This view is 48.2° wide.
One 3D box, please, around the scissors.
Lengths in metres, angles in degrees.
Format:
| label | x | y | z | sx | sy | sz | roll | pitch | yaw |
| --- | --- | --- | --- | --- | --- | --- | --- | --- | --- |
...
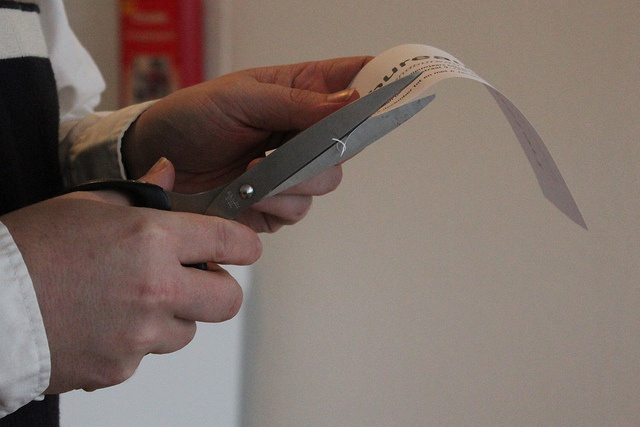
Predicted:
| label | x | y | z | sx | sy | sz | roll | pitch | yaw |
| --- | --- | --- | --- | --- | --- | --- | --- | --- | --- |
| scissors | -0.104 | -0.056 | 1.291 | 0.315 | 0.851 | 0.116 | 36 | 50 | -33 |
